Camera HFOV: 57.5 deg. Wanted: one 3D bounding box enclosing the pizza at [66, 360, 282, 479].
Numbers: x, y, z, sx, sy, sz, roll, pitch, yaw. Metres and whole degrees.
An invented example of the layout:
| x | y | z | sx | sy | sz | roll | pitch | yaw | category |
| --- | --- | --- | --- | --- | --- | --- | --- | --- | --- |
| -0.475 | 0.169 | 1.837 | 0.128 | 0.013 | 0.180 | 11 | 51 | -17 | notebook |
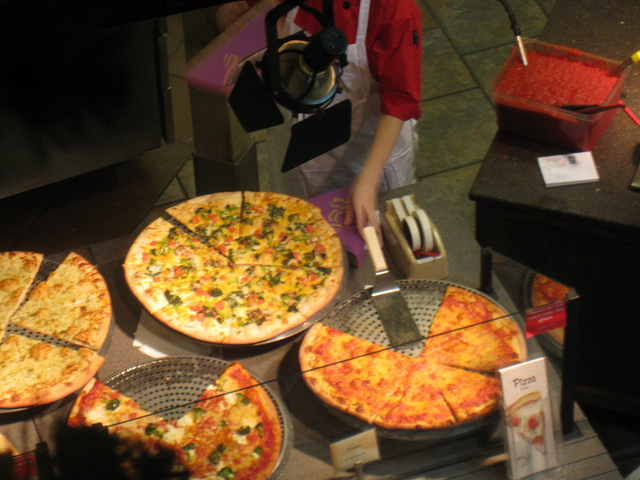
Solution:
| x | y | z | sx | sy | sz | roll | pitch | yaw | category |
| --- | --- | --- | --- | --- | --- | --- | --- | --- | --- |
| -0.328 | 0.422 | 1.336 | 0.467 | 0.177 | 0.263 | -6 | 54 | -6 | pizza |

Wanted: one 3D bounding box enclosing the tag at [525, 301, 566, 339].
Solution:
| x | y | z | sx | sy | sz | roll | pitch | yaw | category |
| --- | --- | --- | --- | --- | --- | --- | --- | --- | --- |
| 0.568 | 0.203 | 1.476 | 0.124 | 0.070 | 0.009 | -12 | 18 | -17 | tag |

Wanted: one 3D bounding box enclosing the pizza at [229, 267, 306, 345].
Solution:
| x | y | z | sx | sy | sz | roll | pitch | yaw | category |
| --- | --- | --- | --- | --- | --- | --- | --- | --- | --- |
| -0.140 | 0.167 | 1.560 | 0.195 | 0.066 | 0.268 | -3 | 54 | -4 | pizza |

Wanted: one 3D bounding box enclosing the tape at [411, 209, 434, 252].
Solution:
| x | y | z | sx | sy | sz | roll | pitch | yaw | category |
| --- | --- | --- | --- | --- | --- | --- | --- | --- | --- |
| 0.279 | -0.022 | 1.616 | 0.032 | 0.104 | 0.108 | -9 | 10 | -10 | tape |

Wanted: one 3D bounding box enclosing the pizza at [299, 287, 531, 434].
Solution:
| x | y | z | sx | sy | sz | roll | pitch | yaw | category |
| --- | --- | --- | --- | --- | --- | --- | --- | --- | --- |
| 0.221 | 0.292 | 1.463 | 0.398 | 0.579 | 0.048 | 53 | 34 | 0 | pizza |

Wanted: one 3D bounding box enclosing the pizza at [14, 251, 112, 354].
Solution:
| x | y | z | sx | sy | sz | roll | pitch | yaw | category |
| --- | --- | --- | --- | --- | --- | --- | --- | --- | --- |
| -0.634 | 0.164 | 1.478 | 0.217 | 0.025 | 0.210 | 20 | 64 | 17 | pizza |

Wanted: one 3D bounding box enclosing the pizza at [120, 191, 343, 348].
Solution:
| x | y | z | sx | sy | sz | roll | pitch | yaw | category |
| --- | --- | --- | --- | --- | --- | --- | --- | --- | --- |
| -0.210 | 0.080 | 1.660 | 0.473 | 0.058 | 0.432 | -14 | 50 | -15 | pizza |

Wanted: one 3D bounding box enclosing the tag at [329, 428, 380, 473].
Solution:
| x | y | z | sx | sy | sz | roll | pitch | yaw | category |
| --- | --- | --- | --- | --- | --- | --- | --- | --- | --- |
| 0.083 | 0.507 | 1.394 | 0.151 | 0.096 | 0.029 | -12 | 17 | -13 | tag |

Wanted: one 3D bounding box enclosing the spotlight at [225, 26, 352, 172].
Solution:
| x | y | z | sx | sy | sz | roll | pitch | yaw | category |
| --- | --- | --- | --- | --- | --- | --- | --- | --- | --- |
| -0.070 | -0.355 | 1.411 | 0.250 | 0.360 | 0.236 | -36 | 63 | -23 | spotlight |
